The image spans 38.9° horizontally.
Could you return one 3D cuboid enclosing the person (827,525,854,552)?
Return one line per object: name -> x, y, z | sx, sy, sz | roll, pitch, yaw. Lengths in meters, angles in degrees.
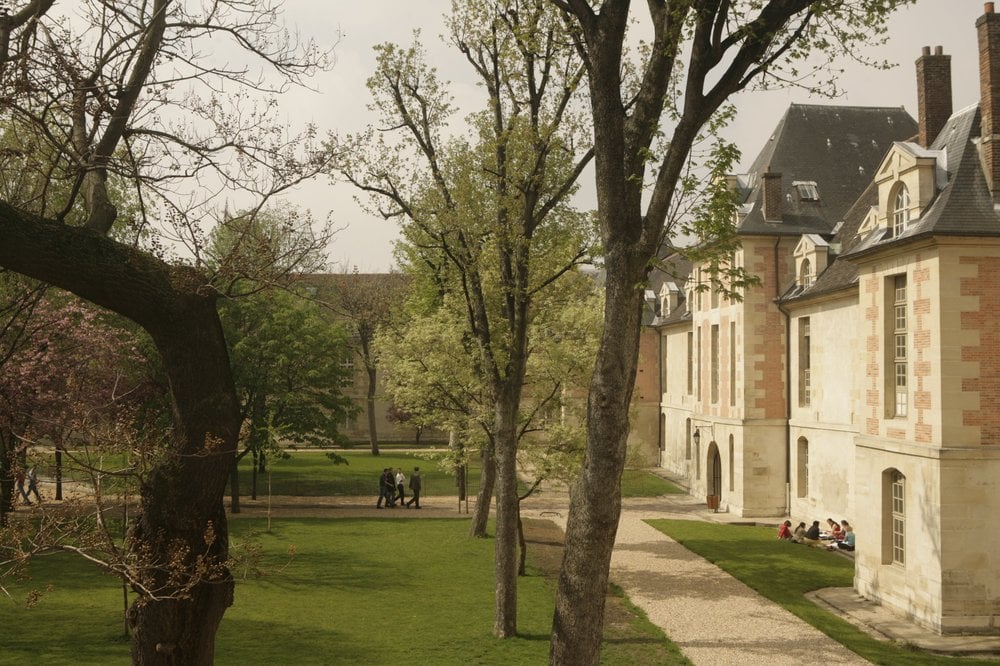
person -> 11.736, 6.972, 48.481 | 0.827, 0.873, 0.547 | -1, -9, 16
